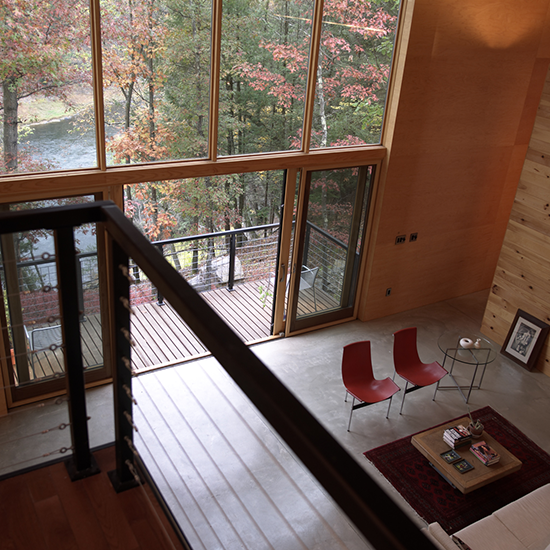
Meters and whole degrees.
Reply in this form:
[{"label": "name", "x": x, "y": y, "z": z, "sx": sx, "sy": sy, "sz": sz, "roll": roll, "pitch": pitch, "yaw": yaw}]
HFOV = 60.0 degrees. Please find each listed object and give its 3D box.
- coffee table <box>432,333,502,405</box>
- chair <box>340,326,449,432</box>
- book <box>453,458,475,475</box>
[{"label": "coffee table", "x": 2.584, "y": 1.283, "z": 6.504, "sx": 0.945, "sy": 0.924, "sz": 0.873, "roll": 4, "pitch": 31, "yaw": 12}, {"label": "chair", "x": 1.532, "y": 1.376, "z": 6.081, "sx": 1.079, "sy": 0.615, "sz": 0.407, "roll": -14, "pitch": 24, "yaw": -32}, {"label": "book", "x": 1.888, "y": 1.931, "z": 4.794, "sx": 0.184, "sy": 0.063, "sz": 0.135, "roll": -6, "pitch": 10, "yaw": -28}]
